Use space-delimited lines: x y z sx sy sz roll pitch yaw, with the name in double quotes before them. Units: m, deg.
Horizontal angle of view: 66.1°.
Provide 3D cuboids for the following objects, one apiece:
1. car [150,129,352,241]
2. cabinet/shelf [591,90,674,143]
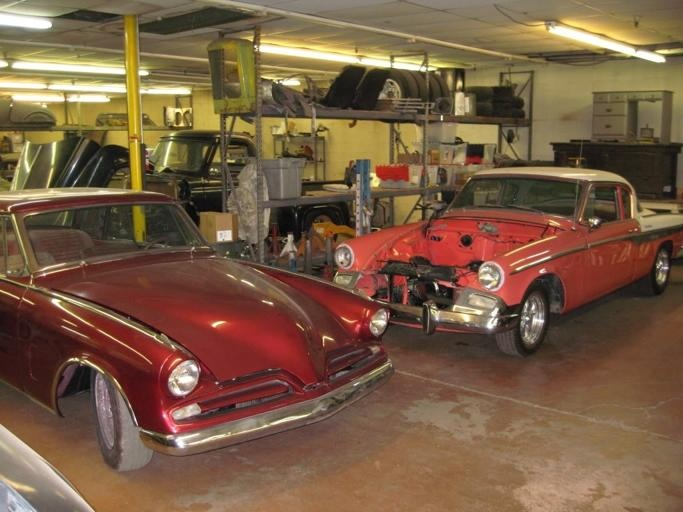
"car" -1.224 -1.304 9.301 3.651 1.320 1.821 -2 7 -33
"cabinet/shelf" 5.345 -2.523 9.604 1.486 0.770 0.503 0 1 22
